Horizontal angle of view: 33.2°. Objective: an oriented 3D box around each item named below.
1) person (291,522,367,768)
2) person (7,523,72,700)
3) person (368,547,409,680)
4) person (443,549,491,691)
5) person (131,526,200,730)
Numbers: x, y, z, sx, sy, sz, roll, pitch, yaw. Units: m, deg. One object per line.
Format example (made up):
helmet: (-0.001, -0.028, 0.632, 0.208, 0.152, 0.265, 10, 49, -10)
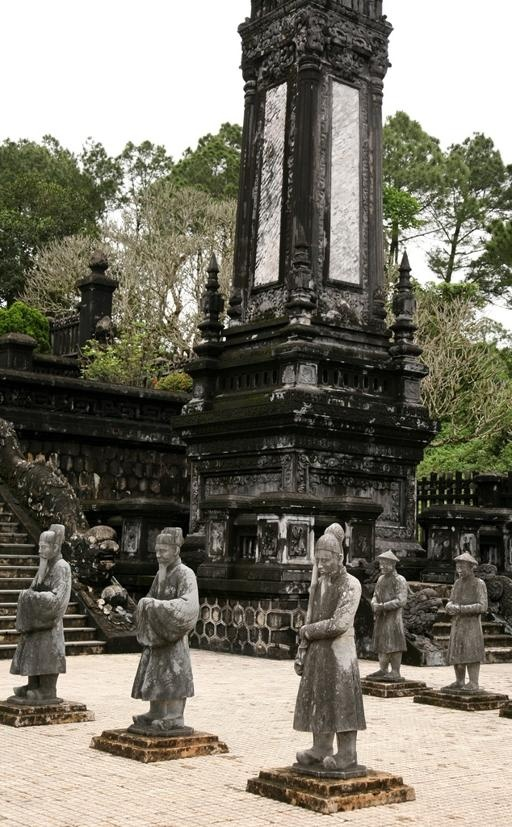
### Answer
person: (0.381, 1.167, 4.288, 0.359, 1.222, 0.428, 4, -5, 4)
person: (-1.507, 1.418, 6.071, 0.375, 1.235, 0.440, 5, -5, -14)
person: (1.279, 1.929, 8.275, 0.339, 1.196, 0.440, 3, -5, 10)
person: (1.865, 1.842, 7.656, 0.344, 1.161, 0.467, 3, -5, 14)
person: (-0.548, 1.310, 5.200, 0.391, 1.215, 0.490, 5, -5, -5)
